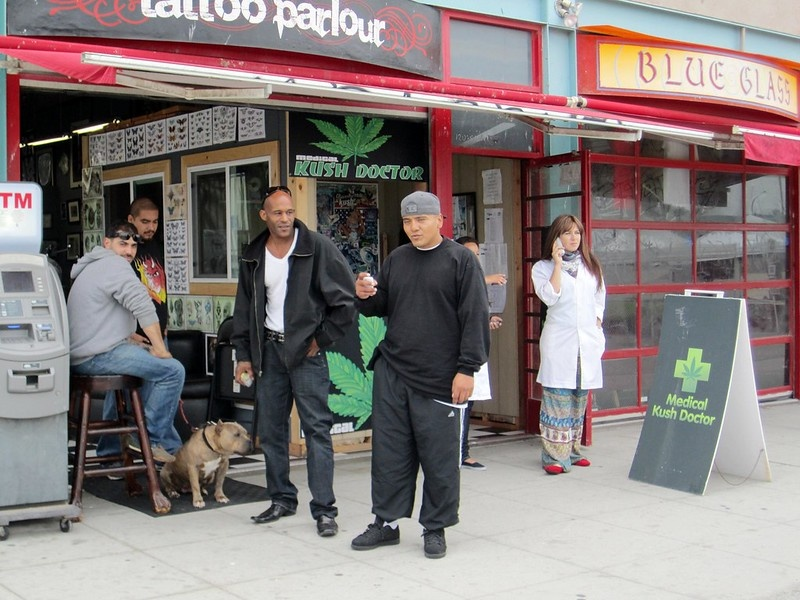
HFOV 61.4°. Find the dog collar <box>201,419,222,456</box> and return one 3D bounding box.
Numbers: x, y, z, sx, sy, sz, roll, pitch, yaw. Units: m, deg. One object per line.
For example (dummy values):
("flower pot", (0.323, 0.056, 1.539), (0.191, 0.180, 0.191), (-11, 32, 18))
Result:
("dog collar", (-1.317, 0.967, 4.695), (0.120, 0.212, 0.168), (0, 0, -29))

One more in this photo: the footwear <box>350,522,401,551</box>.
("footwear", (-0.127, 1.382, 4.000), (0.304, 0.171, 0.117), (3, 0, -27))

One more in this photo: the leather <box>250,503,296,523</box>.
("leather", (-0.839, 1.397, 4.503), (0.289, 0.116, 0.103), (3, -2, -41))

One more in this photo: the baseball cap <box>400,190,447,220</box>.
("baseball cap", (0.145, -0.545, 3.885), (0.144, 0.110, 0.191), (5, 11, 28))

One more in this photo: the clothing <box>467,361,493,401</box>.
("clothing", (0.687, 0.733, 5.792), (0.239, 0.324, 0.217), (-3, -9, 34))

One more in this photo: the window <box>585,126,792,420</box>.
("window", (3.011, -0.376, 7.267), (3.259, 4.542, 0.176), (-4, 0, -31))

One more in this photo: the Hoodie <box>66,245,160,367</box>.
("Hoodie", (-2.017, 0.039, 4.833), (0.633, 0.977, 1.046), (-4, 0, -36))

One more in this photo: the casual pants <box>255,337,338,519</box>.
("casual pants", (-0.703, 0.850, 4.527), (0.514, 1.233, 0.328), (0, 5, 12))

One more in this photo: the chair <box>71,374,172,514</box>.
("chair", (-2.059, 0.989, 4.789), (0.800, 0.998, 0.836), (-2, -2, -20))

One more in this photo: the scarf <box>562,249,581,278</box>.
("scarf", (1.521, -0.327, 5.964), (0.205, 0.210, 0.076), (-2, -9, -5))

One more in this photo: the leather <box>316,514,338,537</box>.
("leather", (-0.456, 1.406, 4.229), (0.131, 0.117, 0.172), (0, 0, -8))

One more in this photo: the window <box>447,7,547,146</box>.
("window", (0.906, -2.201, 6.586), (1.503, 1.848, 0.075), (1, -1, -37))

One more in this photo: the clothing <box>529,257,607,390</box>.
("clothing", (1.529, 0.185, 6.021), (0.699, 1.252, 0.437), (1, -5, -12))

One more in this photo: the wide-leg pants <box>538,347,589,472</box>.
("wide-leg pants", (1.465, 1.003, 5.943), (0.471, 0.767, 0.358), (0, 0, -9))

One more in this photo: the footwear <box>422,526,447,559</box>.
("footwear", (0.203, 1.380, 3.884), (0.129, 0.135, 0.217), (0, 0, 1))

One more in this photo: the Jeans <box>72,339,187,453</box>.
("Jeans", (-2.017, 0.728, 5.099), (0.802, 0.915, 0.753), (2, -1, -43))

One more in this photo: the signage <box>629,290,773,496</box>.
("signage", (2.511, 0.735, 5.550), (1.117, 1.555, 1.047), (-2, 1, -44))
